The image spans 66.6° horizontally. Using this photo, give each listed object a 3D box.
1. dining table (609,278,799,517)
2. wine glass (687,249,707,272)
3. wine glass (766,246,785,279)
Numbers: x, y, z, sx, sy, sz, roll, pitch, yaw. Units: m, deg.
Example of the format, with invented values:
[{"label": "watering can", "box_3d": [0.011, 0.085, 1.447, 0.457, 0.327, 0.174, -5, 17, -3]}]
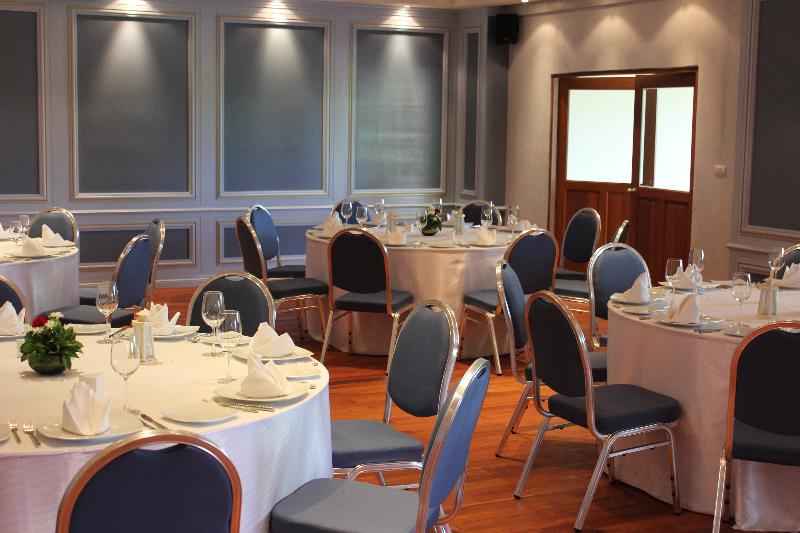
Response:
[{"label": "dining table", "box_3d": [1.745, 0.719, 3.737, 1.102, 0.936, 1.177, 1, 3, 18]}, {"label": "wine glass", "box_3d": [1.941, -0.041, 3.986, 0.081, 0.138, 0.089, 3, 10, 17]}, {"label": "wine glass", "box_3d": [2.402, -0.013, 3.900, 0.069, 0.224, 0.499, 5, 11, 32]}]
